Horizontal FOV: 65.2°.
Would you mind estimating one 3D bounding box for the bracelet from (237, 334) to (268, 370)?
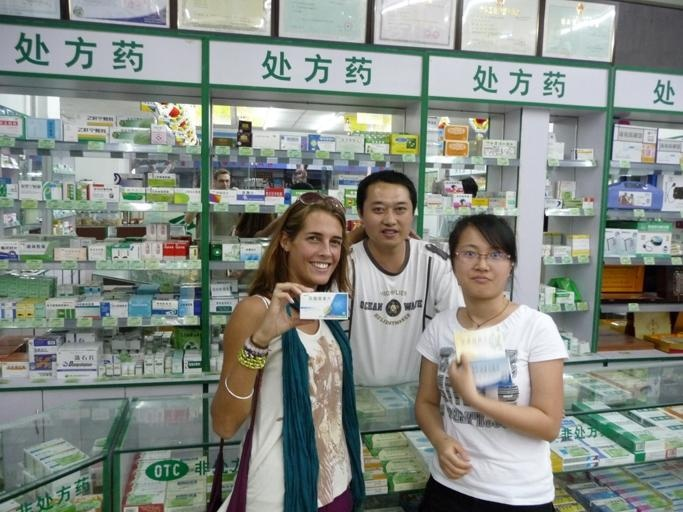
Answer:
[{"bbox_3d":[-0.333,0.383,2.078,0.115,0.113,0.117,23,4,7],"label":"bracelet"}]

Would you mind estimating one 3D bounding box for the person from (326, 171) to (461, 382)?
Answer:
[{"bbox_3d":[0.244,0.156,2.926,0.909,1.196,0.642,-4,9,-12],"label":"person"}]
